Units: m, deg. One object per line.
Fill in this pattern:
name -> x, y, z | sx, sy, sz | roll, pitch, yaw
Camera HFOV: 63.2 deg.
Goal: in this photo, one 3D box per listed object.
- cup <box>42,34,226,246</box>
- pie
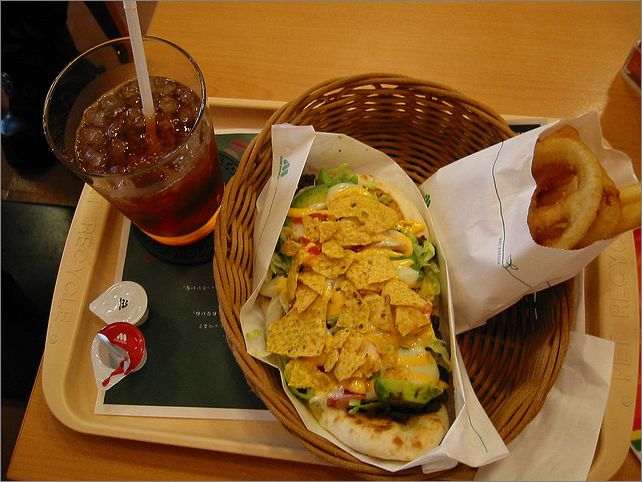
cup -> -0.513, -0.291, 1.555 | 0.501, 0.435, 0.443 | 41, 75, 9
pie -> 0.162, 0.519, 1.415 | 0.385, 0.091, 0.146 | 3, 73, -3
